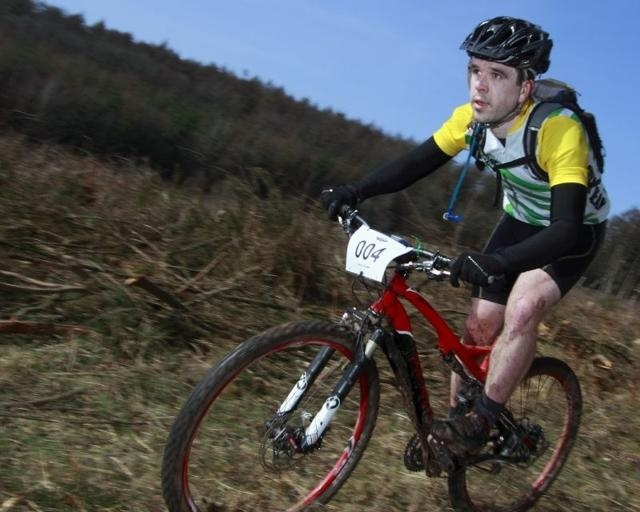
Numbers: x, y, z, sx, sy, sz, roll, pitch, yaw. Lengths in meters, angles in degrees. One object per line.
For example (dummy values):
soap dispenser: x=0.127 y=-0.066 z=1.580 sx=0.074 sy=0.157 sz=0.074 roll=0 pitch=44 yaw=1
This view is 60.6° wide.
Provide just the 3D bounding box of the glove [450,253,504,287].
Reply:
glove: x=0.736 y=0.063 z=2.567 sx=0.220 sy=0.067 sz=0.160 roll=3 pitch=14 yaw=31

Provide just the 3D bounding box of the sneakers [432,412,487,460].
sneakers: x=0.758 y=0.958 z=2.931 sx=0.328 sy=0.172 sz=0.140 roll=-11 pitch=-3 yaw=22

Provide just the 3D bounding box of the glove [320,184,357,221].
glove: x=0.117 y=-0.322 z=3.198 sx=0.186 sy=0.083 sz=0.228 roll=11 pitch=34 yaw=39
